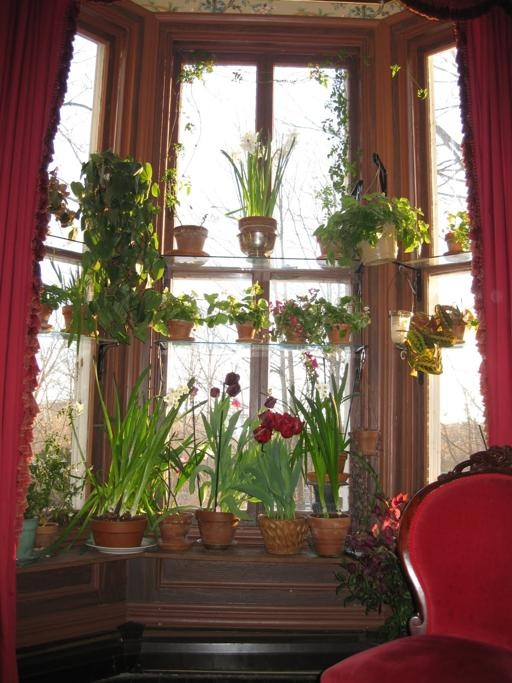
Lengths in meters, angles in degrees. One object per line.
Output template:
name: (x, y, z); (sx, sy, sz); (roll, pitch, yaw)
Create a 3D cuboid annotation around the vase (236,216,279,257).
vase: (0.012, -0.400, 2.454); (0.150, 0.130, 0.147); (-2, 5, -30)

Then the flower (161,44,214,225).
flower: (-0.272, -0.853, 2.627); (0.189, 0.733, 0.275); (1, 7, -4)

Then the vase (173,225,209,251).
vase: (-0.243, -0.391, 2.406); (0.103, 0.065, 0.102); (-1, 5, -9)

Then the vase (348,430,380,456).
vase: (0.398, 0.363, 2.335); (0.105, 0.094, 0.109); (-7, -12, 36)

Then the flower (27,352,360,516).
flower: (-0.178, 0.362, 2.260); (1.104, 0.607, 0.529); (1, 7, -6)

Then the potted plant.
potted plant: (0.474, -0.386, 2.329); (0.374, 0.190, 0.342); (7, -9, -27)
